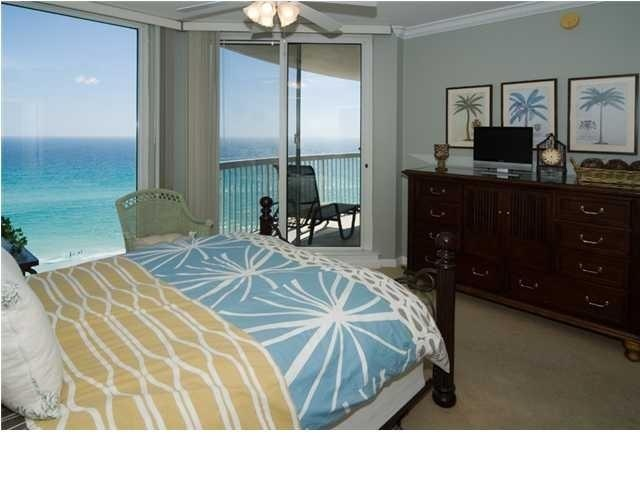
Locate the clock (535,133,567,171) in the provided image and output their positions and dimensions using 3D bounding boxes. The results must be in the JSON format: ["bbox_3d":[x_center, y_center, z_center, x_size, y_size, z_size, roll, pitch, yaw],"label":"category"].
[{"bbox_3d":[1.979,-0.739,3.734,0.217,0.320,0.112,3,-10,18],"label":"clock"}]

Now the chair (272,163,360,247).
[{"bbox_3d":[0.016,-0.519,5.596,0.702,1.108,1.173,5,11,41],"label":"chair"}]

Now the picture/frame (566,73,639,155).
[{"bbox_3d":[2.415,-1.069,3.723,0.082,0.652,0.583,-14,18,-41],"label":"picture/frame"}]

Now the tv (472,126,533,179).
[{"bbox_3d":[1.700,-0.800,3.990,0.126,0.465,0.544,-5,7,-42],"label":"tv"}]

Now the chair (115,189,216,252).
[{"bbox_3d":[-1.449,-0.188,4.101,0.496,0.656,0.431,-18,22,-39],"label":"chair"}]

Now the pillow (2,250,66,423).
[{"bbox_3d":[-1.099,0.396,1.668,0.202,0.356,0.550,-7,12,-35],"label":"pillow"}]
